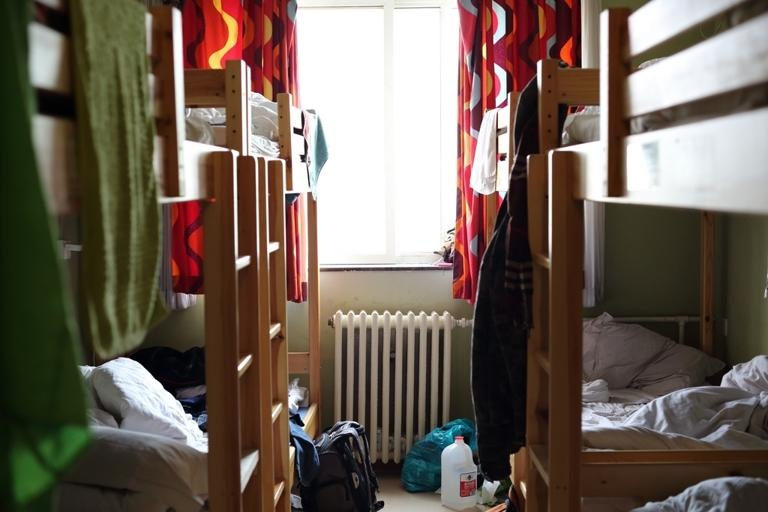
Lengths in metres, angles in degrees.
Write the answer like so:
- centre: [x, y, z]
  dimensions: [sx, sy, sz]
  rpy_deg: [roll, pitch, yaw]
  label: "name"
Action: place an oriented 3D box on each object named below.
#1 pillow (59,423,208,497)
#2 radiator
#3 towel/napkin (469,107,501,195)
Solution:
- centre: [-0.794, 0.679, 2.114]
  dimensions: [0.469, 0.141, 0.380]
  rpy_deg: [10, -7, 6]
  label: "pillow"
- centre: [0.094, 0.763, 3.645]
  dimensions: [0.819, 0.892, 0.232]
  rpy_deg: [2, 2, 0]
  label: "radiator"
- centre: [0.477, -0.490, 2.976]
  dimensions: [0.082, 0.343, 0.236]
  rpy_deg: [3, 5, -20]
  label: "towel/napkin"
